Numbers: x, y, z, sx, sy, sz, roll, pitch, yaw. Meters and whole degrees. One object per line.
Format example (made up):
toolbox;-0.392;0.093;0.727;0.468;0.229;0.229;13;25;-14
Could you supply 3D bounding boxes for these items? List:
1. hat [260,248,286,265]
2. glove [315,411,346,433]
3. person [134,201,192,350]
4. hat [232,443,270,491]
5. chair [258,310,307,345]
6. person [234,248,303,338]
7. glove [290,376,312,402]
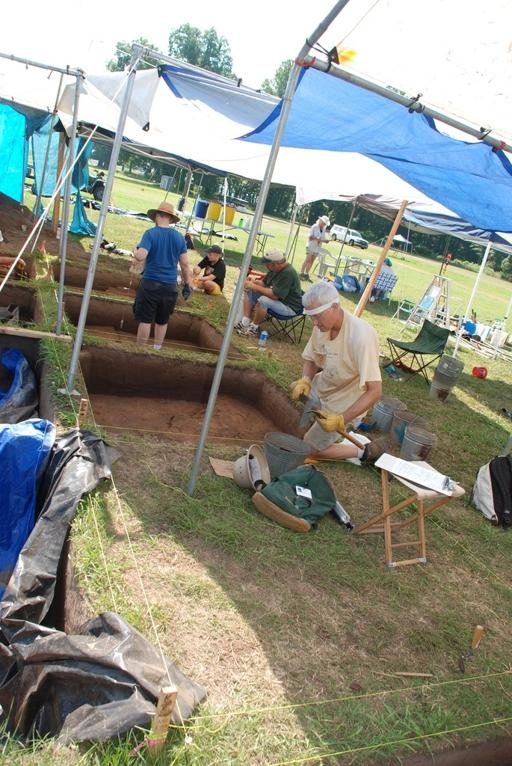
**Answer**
hat;0.248;-1.744;7.387;0.287;0.174;0.210;21;50;21
glove;0.510;0.285;3.814;0.132;0.075;0.179;0;14;-23
person;-1.036;-1.092;5.910;0.669;1.671;0.540;8;14;-16
hat;-0.031;0.618;3.868;0.236;0.346;0.306;-12;-17;15
chair;0.434;-0.864;8.593;0.645;0.480;0.613;1;9;-10
person;0.217;-1.355;7.971;1.028;1.272;0.762;-3;18;-28
glove;0.388;0.080;4.505;0.169;0.100;0.220;-16;15;46
